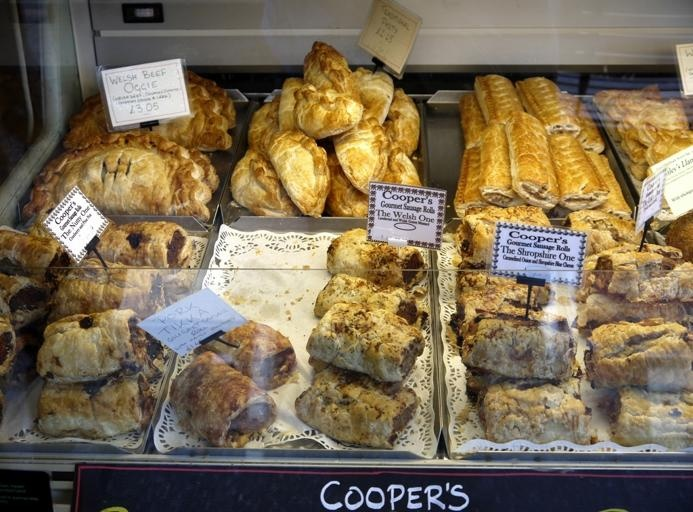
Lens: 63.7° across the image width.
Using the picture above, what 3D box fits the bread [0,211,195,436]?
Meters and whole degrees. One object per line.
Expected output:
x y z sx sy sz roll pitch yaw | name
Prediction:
-1.029 0.309 2.574 0.892 0.312 0.947 1 62 3 | bread

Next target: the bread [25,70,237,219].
-1.275 -0.525 3.398 0.947 0.266 1.036 20 67 -6 | bread

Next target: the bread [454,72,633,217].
1.183 -0.685 3.477 0.972 0.377 1.099 7 44 5 | bread
